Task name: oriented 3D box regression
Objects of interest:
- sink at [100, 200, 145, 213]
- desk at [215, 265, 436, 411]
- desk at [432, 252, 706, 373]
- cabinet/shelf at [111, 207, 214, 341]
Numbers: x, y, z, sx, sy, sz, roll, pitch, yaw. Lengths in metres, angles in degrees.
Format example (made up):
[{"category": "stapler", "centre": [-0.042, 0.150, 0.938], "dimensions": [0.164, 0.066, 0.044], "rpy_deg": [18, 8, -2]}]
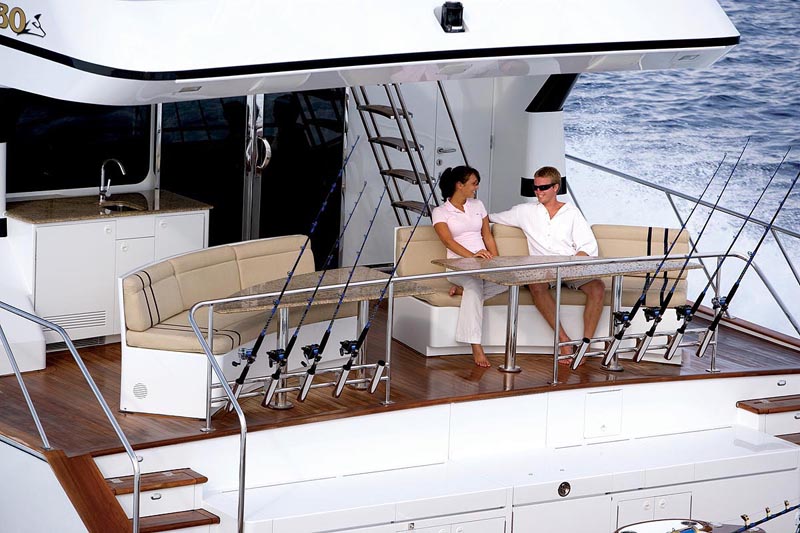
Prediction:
[{"category": "sink", "centre": [-2.255, -0.477, 7.131], "dimensions": [0.180, 0.083, 0.239], "rpy_deg": [-6, 15, -36]}, {"category": "desk", "centre": [-0.706, 0.462, 6.127], "dimensions": [1.443, 0.703, 0.823], "rpy_deg": [3, 17, 43]}, {"category": "desk", "centre": [1.154, 0.580, 6.791], "dimensions": [1.743, 0.757, 0.950], "rpy_deg": [-1, 23, -6]}, {"category": "cabinet/shelf", "centre": [-1.745, 0.079, 6.325], "dimensions": [0.305, 0.378, 1.028], "rpy_deg": [15, 26, 32]}]
